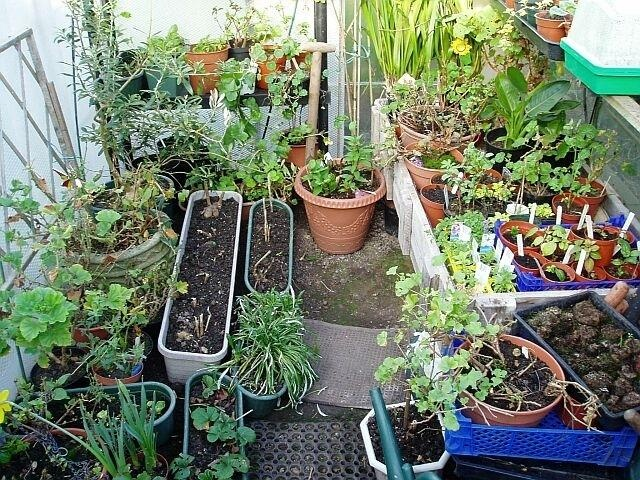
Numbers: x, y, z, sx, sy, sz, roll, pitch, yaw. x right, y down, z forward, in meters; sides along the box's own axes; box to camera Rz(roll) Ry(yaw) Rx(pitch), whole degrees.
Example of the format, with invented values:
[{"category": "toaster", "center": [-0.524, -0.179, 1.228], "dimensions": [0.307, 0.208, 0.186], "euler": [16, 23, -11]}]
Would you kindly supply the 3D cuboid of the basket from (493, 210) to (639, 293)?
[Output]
[{"category": "basket", "center": [1.409, 0.066, 2.626], "dimensions": [0.770, 0.228, 0.567], "euler": [-2, 34, -3]}]
